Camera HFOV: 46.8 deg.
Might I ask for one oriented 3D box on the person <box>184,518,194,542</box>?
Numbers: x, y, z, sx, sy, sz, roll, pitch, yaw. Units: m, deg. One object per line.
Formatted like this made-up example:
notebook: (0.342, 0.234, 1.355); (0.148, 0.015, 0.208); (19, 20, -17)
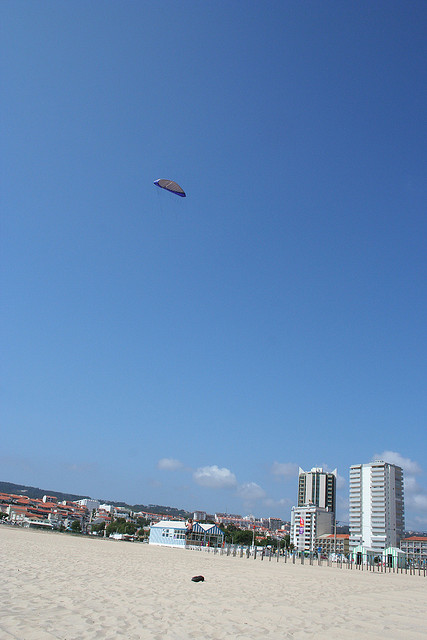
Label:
person: (-3.502, 30.274, 71.775); (1.196, 2.206, 0.974); (6, -18, 7)

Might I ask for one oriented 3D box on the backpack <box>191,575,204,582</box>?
backpack: (-0.649, 10.656, 20.440); (0.461, 0.214, 0.273); (14, -24, -35)
